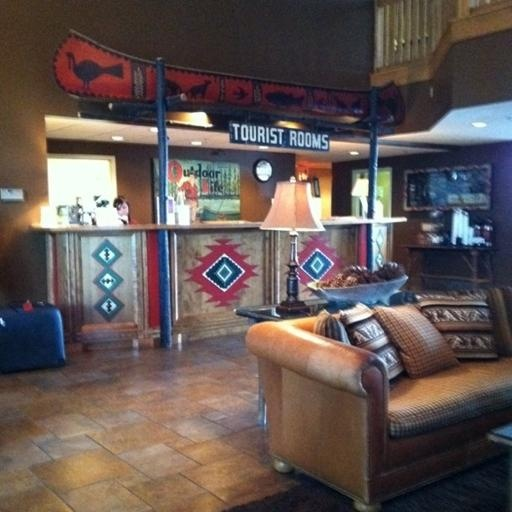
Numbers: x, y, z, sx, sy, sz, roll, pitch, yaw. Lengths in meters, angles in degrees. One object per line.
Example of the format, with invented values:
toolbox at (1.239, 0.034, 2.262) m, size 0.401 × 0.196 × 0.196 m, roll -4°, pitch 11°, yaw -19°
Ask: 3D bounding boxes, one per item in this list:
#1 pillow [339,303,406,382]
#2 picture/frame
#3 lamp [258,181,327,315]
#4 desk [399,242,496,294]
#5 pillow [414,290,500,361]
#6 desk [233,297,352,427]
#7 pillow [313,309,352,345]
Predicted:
pillow at (0.527, 0.463, 2.491) m, size 0.354 × 0.370 × 0.134 m, roll 9°, pitch -36°, yaw -46°
picture/frame at (3.593, -1.261, 8.935) m, size 1.573 × 0.826 × 0.048 m, roll 4°, pitch 11°, yaw 40°
lamp at (0.237, -0.080, 3.276) m, size 0.455 × 0.883 × 0.894 m, roll -1°, pitch 3°, yaw 7°
desk at (3.452, 0.414, 8.573) m, size 1.350 × 1.117 × 0.555 m, roll 3°, pitch 3°, yaw 2°
pillow at (1.264, 0.420, 2.942) m, size 0.341 × 0.151 × 0.430 m, roll 0°, pitch 11°, yaw 1°
desk at (0.218, 0.641, 3.147) m, size 0.781 × 0.716 × 0.753 m, roll -1°, pitch 2°, yaw -30°
pillow at (0.357, 0.334, 2.286) m, size 0.143 × 0.145 × 0.222 m, roll -11°, pitch 9°, yaw -14°
